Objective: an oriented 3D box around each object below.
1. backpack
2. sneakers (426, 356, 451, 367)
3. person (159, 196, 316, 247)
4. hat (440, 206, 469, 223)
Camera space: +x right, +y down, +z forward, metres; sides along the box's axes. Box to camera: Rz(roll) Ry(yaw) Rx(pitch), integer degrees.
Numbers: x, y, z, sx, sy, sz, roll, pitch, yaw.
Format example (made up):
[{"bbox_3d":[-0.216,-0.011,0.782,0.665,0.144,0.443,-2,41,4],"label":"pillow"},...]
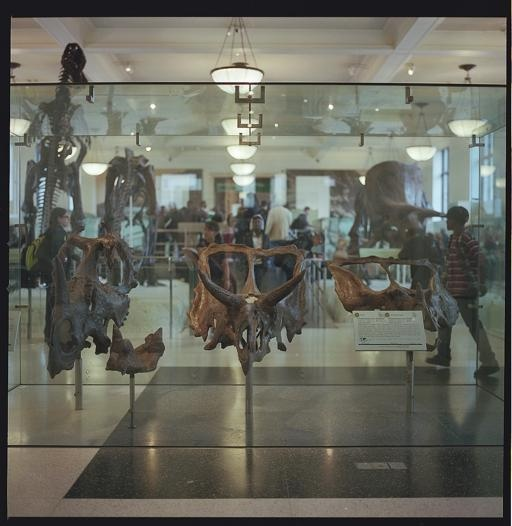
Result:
[{"bbox_3d":[-1.397,-0.042,3.857,0.280,0.421,0.070,1,0,-27],"label":"backpack"},{"bbox_3d":[1.235,0.660,3.980,0.152,0.080,0.058,6,3,9],"label":"sneakers"},{"bbox_3d":[-0.024,-0.240,3.924,0.902,0.263,0.122,1,0,6],"label":"person"},{"bbox_3d":[1.335,-0.323,3.886,0.122,0.080,0.088,18,18,37],"label":"hat"}]
